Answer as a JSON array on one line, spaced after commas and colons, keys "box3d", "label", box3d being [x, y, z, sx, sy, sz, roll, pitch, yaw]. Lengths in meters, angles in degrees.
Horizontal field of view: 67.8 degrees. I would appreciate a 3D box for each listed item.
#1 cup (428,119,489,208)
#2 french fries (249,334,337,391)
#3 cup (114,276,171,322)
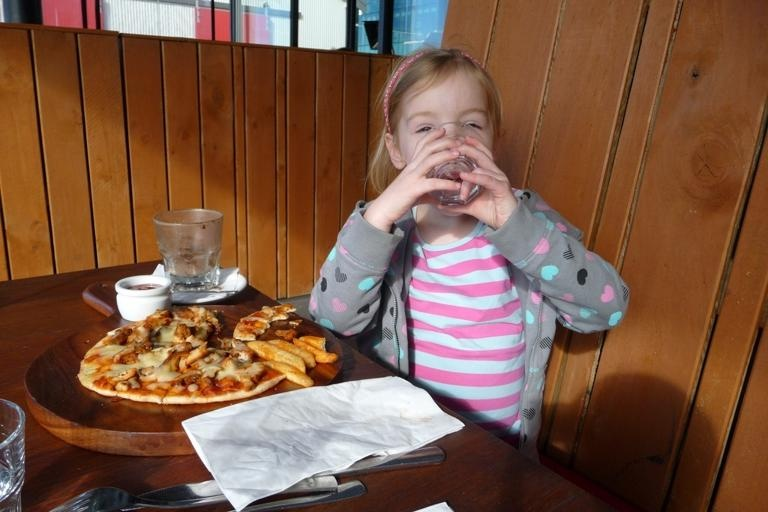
[{"box3d": [0.197, -0.206, 1.611, 0.151, 0.166, 0.124, 6, 24, 8], "label": "cup"}, {"box3d": [-0.235, 0.254, 1.413, 0.175, 0.030, 0.104, 23, 30, 28], "label": "french fries"}, {"box3d": [-0.699, 0.107, 1.641, 0.132, 0.098, 0.136, -1, 17, 0], "label": "cup"}]
